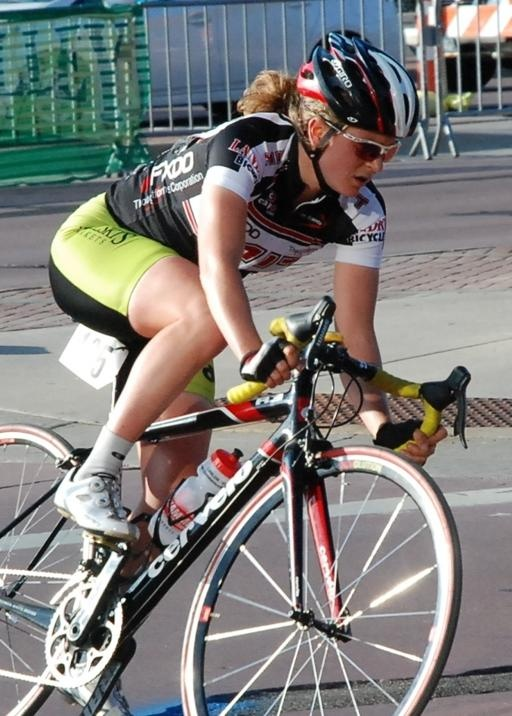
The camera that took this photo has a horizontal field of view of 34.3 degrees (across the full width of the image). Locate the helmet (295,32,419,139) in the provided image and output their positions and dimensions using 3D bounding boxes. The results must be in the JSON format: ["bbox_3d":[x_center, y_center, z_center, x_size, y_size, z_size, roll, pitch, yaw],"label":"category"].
[{"bbox_3d":[0.236,-0.682,2.060,0.326,0.284,0.238,4,14,26],"label":"helmet"}]

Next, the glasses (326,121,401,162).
[{"bbox_3d":[0.255,-0.502,2.024,0.141,0.041,0.110,36,17,22],"label":"glasses"}]
